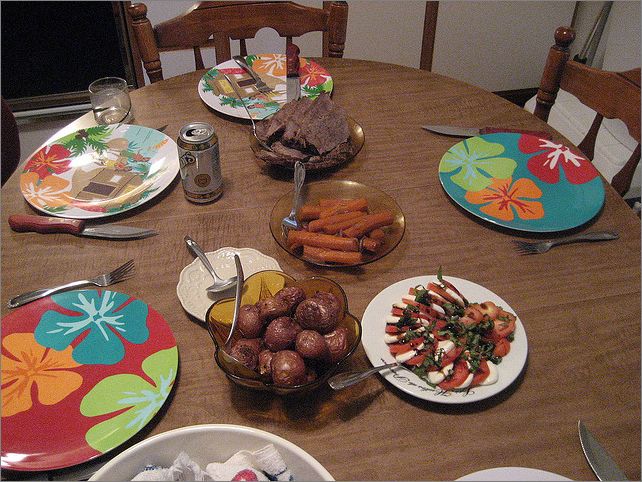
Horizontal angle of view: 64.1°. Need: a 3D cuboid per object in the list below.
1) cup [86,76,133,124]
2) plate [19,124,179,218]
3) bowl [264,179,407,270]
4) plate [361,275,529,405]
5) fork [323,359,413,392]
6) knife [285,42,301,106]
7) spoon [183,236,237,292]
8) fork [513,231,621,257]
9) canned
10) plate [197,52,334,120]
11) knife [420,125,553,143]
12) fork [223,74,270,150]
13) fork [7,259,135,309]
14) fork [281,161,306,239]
[{"bbox_3d":[-0.712,-0.480,1.777,0.137,0.135,0.134,-5,13,1],"label":"cup"},{"bbox_3d":[-0.653,-0.177,1.599,0.413,0.417,0.060,-38,69,5],"label":"plate"},{"bbox_3d":[0.040,-0.043,1.479,0.284,0.066,0.278,2,42,-2],"label":"bowl"},{"bbox_3d":[0.265,0.207,1.128,0.349,0.067,0.299,31,54,22],"label":"plate"},{"bbox_3d":[0.097,0.284,1.085,0.174,0.071,0.034,-18,52,-17],"label":"fork"},{"bbox_3d":[-0.095,-0.573,1.759,0.048,0.026,0.246,-7,76,-2],"label":"knife"},{"bbox_3d":[-0.290,0.061,1.302,0.090,0.044,0.265,-1,23,-39],"label":"spoon"},{"bbox_3d":[0.671,0.010,1.386,0.262,0.031,0.036,-6,65,-1],"label":"fork"},{"bbox_3d":[-0.340,-0.219,1.450,0.118,0.199,0.116,8,40,5],"label":"canned"},{"bbox_3d":[-0.238,-0.565,1.884,0.369,0.035,0.366,7,46,-1],"label":"plate"},{"bbox_3d":[0.546,-0.354,1.704,0.360,0.031,0.051,5,54,4],"label":"knife"},{"bbox_3d":[-0.252,-0.432,1.752,0.056,0.044,0.380,-24,68,-30],"label":"fork"},{"bbox_3d":[-0.613,0.109,1.251,0.256,0.037,0.041,-14,53,-13],"label":"fork"},{"bbox_3d":[-0.064,-0.112,1.414,0.049,0.035,0.232,7,71,10],"label":"fork"}]
